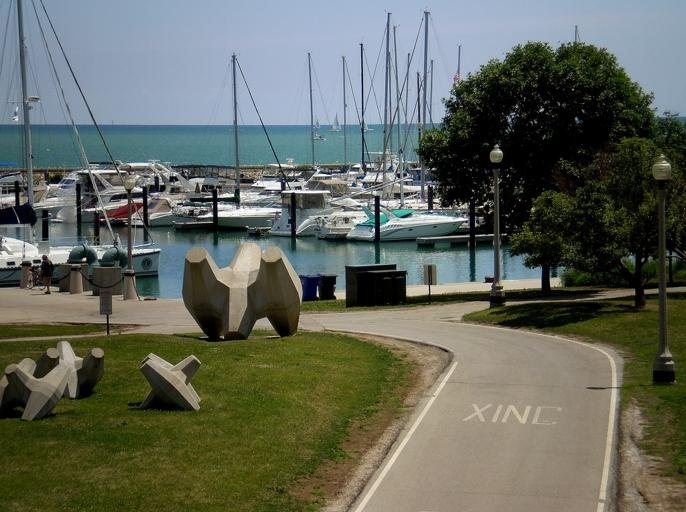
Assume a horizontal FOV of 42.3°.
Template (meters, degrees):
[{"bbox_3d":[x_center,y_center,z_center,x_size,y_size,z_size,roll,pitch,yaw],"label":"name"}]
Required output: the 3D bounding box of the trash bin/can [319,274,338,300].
[{"bbox_3d":[-0.554,1.509,43.242,1.010,1.321,0.896,4,-6,-40],"label":"trash bin/can"}]

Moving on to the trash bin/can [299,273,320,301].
[{"bbox_3d":[-1.579,1.498,43.084,0.895,1.434,1.097,0,-6,0],"label":"trash bin/can"}]
